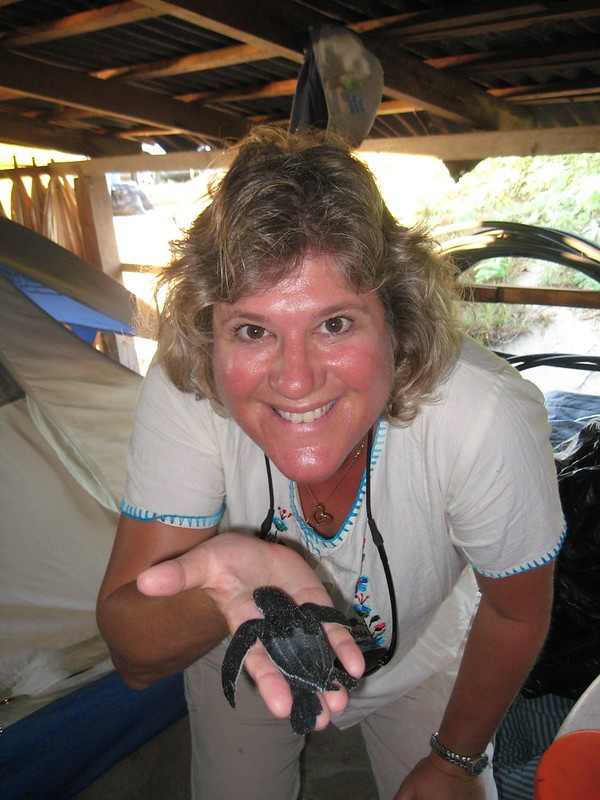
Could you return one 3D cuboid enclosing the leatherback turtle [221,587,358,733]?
[{"bbox_3d":[-0.003,0.337,0.895,0.217,0.049,0.198,-10,44,-26],"label":"leatherback turtle"}]
